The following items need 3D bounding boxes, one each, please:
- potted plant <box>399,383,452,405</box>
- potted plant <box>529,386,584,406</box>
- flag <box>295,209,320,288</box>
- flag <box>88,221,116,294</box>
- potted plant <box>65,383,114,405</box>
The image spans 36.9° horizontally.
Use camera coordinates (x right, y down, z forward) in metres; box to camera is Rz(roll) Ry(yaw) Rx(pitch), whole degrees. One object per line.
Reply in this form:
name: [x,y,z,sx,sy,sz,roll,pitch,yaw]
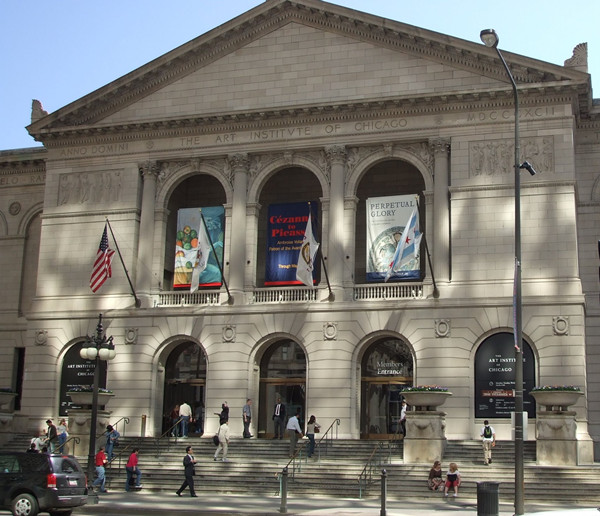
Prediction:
potted plant: [5.060,5.588,36.719,1.766,0.817,0.714,-1,-11,4]
potted plant: [10.055,5.388,35.434,1.711,0.801,0.644,-5,-12,19]
flag: [0.357,-0.616,43.602,1.010,3.787,2.024,0,-11,1]
flag: [-9.420,0.271,43.905,1.090,4.156,0.866,-5,-11,42]
potted plant: [-9.923,6.263,41.365,1.839,0.699,1.887,-12,-18,37]
